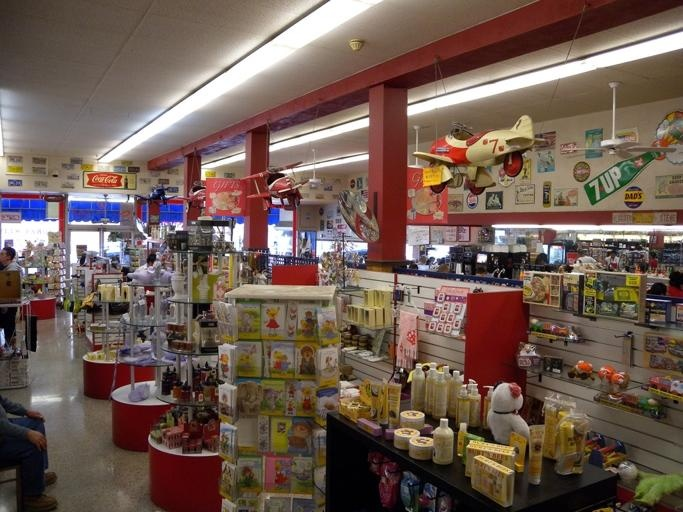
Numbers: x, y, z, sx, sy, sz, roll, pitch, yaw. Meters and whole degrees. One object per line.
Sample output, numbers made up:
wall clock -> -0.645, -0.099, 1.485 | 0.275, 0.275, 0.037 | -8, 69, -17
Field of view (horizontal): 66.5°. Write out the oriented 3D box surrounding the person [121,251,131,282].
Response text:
person -> -4.972, 0.249, 11.987 | 0.167, 0.736, 0.502 | 0, 1, -26
